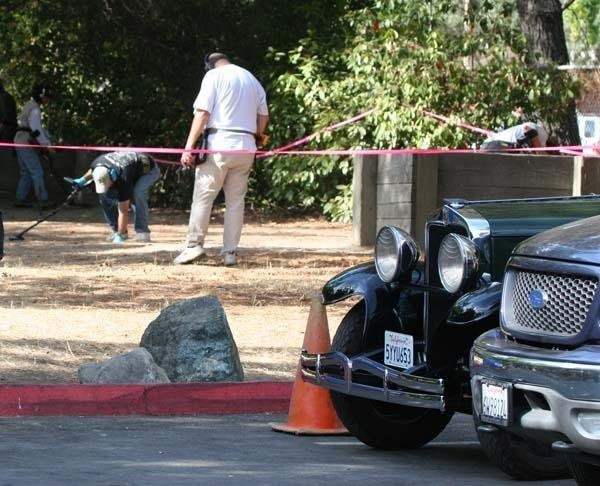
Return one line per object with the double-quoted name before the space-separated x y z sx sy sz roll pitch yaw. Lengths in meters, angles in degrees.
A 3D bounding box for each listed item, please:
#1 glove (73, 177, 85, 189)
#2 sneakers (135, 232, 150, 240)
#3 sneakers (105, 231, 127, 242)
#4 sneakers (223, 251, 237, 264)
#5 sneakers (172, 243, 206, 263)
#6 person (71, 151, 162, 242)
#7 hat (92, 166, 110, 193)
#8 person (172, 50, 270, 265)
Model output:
"glove" -2.753 -0.744 15.507 0.132 0.093 0.177 7 14 28
"sneakers" -2.080 -0.094 16.479 0.132 0.093 0.106 0 -2 13
"sneakers" -2.473 -0.077 16.528 0.315 0.153 0.116 8 8 21
"sneakers" -0.784 0.174 14.044 0.113 0.145 0.148 1 -26 1
"sneakers" -1.241 0.128 14.058 0.423 0.192 0.147 -23 -16 21
"person" -2.260 -0.584 16.106 0.745 1.195 1.000 0 7 5
"hat" -2.513 -0.809 15.716 0.206 0.336 0.176 3 -3 -12
"person" -0.855 -0.864 13.886 1.050 2.248 0.559 -2 6 -11
